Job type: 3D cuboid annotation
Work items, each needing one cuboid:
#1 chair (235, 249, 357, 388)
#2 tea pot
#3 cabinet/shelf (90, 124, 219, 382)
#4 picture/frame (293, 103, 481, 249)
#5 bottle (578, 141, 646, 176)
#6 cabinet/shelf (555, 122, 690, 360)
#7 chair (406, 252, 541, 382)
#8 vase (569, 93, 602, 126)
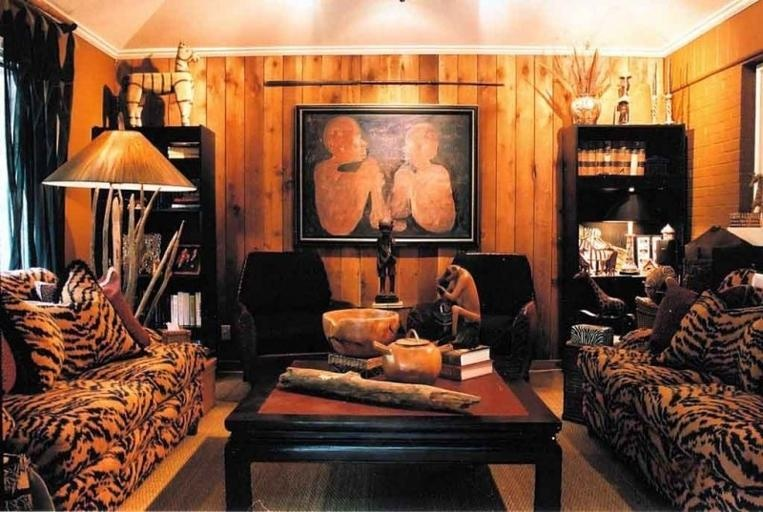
[{"bbox_3d":[-0.750,0.561,5.046,0.938,1.214,0.937,-5,2,-29],"label":"chair"},{"bbox_3d":[0.166,0.563,3.371,0.388,0.255,0.277,0,-7,-2],"label":"tea pot"},{"bbox_3d":[-2.025,0.017,5.651,0.508,2.395,0.947,-19,11,-43],"label":"cabinet/shelf"},{"bbox_3d":[0.062,-0.755,5.601,1.153,0.935,0.049,0,4,1],"label":"picture/frame"},{"bbox_3d":[2.003,-0.835,5.412,0.590,0.300,0.133,0,5,-4],"label":"bottle"},{"bbox_3d":[2.142,-0.190,5.407,0.824,1.820,0.504,1,8,23],"label":"cabinet/shelf"},{"bbox_3d":[0.821,0.470,5.057,0.781,0.854,0.885,0,5,7],"label":"chair"},{"bbox_3d":[1.762,-1.251,5.418,0.243,0.264,0.249,0,6,10],"label":"vase"}]
